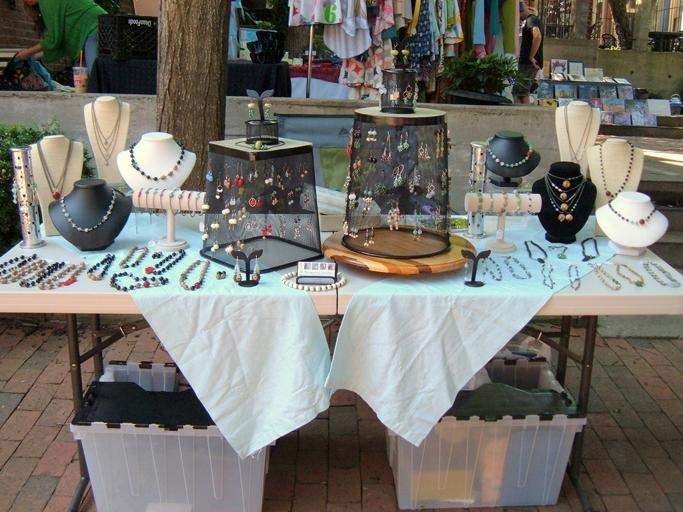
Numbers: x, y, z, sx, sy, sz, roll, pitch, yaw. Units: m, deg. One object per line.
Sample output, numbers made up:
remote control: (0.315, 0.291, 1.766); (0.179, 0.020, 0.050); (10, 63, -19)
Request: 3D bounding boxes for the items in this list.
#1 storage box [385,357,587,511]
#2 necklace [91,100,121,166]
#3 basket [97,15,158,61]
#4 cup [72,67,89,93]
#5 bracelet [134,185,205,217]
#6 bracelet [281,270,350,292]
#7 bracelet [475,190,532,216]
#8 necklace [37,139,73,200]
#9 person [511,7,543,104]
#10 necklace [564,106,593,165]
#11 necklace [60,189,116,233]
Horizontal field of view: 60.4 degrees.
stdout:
storage box: (0.680, 0.848, 2.788); (0.766, 0.475, 0.536); (-2, 10, -1)
necklace: (-1.296, -0.692, 3.263); (0.159, 0.359, 0.085); (-5, 16, -17)
basket: (-1.905, -1.921, 5.191); (0.532, 0.368, 0.263); (5, 17, 17)
cup: (-2.131, -1.436, 4.796); (0.102, 0.207, 0.335); (-7, 18, -21)
bracelet: (-0.806, -0.256, 2.756); (0.306, 0.129, 0.132); (2, 19, 3)
bracelet: (-0.117, 0.113, 2.503); (0.282, 0.037, 0.165); (-1, 17, -2)
bracelet: (0.772, -0.248, 2.858); (0.280, 0.109, 0.080); (-1, 16, -3)
necklace: (-1.469, -0.451, 3.045); (0.172, 0.264, 0.094); (-10, 18, -31)
person: (2.208, -2.424, 6.841); (0.307, 1.167, 2.397); (4, 18, 16)
necklace: (1.279, -0.661, 3.168); (0.161, 0.322, 0.071); (7, 17, 25)
necklace: (-1.194, -0.202, 2.787); (0.253, 0.168, 0.128); (-9, 18, -26)
